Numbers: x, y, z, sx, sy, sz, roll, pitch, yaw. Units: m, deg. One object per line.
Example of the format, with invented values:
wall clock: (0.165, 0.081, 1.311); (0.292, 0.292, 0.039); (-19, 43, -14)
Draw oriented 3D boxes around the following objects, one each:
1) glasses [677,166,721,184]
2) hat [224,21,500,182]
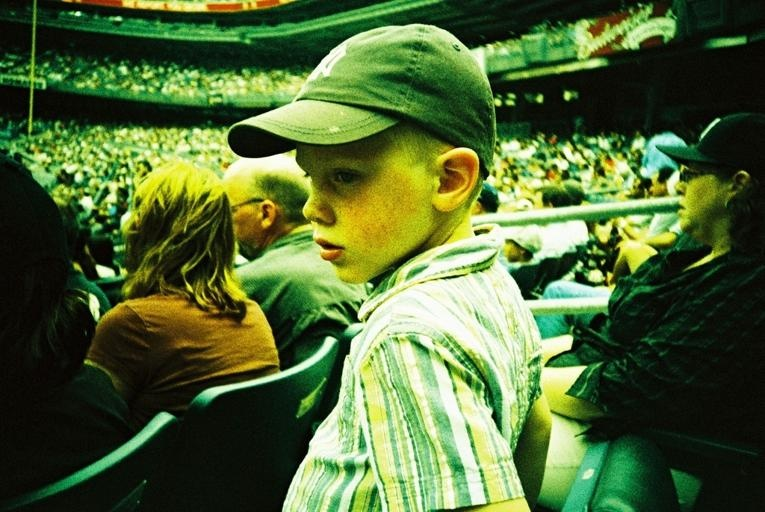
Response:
glasses: (0.810, -0.209, 2.085); (0.044, 0.024, 0.061); (-5, -10, 42)
hat: (-0.014, -0.374, 1.844); (0.596, 0.331, 0.398); (1, 8, -16)
